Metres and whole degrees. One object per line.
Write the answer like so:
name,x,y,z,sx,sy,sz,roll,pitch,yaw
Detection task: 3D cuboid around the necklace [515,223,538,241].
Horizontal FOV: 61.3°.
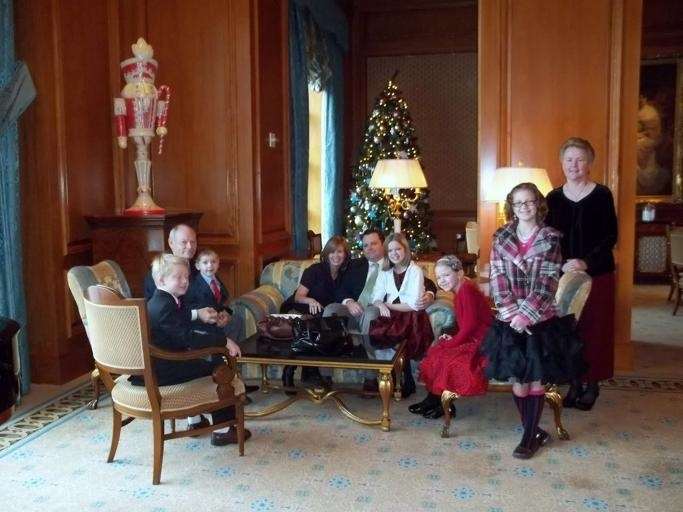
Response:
necklace,1.105,-0.130,3.436,0.081,0.131,0.043,4,2,18

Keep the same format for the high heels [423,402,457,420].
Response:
high heels,0.683,1.092,3.991,0.219,0.101,0.130,1,2,3

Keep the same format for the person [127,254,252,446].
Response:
person,-0.906,0.594,3.546,0.600,1.153,0.369,-3,1,-29

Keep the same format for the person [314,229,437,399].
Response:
person,0.184,0.389,4.485,0.872,1.211,0.747,3,-2,-37

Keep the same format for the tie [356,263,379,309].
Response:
tie,0.215,0.238,4.555,0.097,0.065,0.449,13,42,10

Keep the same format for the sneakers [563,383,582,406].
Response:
sneakers,1.718,1.021,4.276,0.081,0.114,0.261,-4,8,34

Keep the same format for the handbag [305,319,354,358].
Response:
handbag,-0.080,0.541,3.879,0.252,0.275,0.197,11,2,23

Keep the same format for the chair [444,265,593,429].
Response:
chair,1.302,0.645,4.124,1.089,1.317,0.935,2,-6,26

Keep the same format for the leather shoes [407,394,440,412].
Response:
leather shoes,0.590,1.042,4.079,0.263,0.131,0.095,-4,7,8

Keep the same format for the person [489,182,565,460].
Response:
person,1.133,0.399,3.495,0.443,1.652,0.507,-4,6,-17

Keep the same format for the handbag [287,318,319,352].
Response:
handbag,-0.259,0.530,3.972,0.213,0.114,0.319,-3,29,-4

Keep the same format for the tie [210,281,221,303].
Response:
tie,-0.911,0.269,4.230,0.036,0.138,0.093,-7,14,9

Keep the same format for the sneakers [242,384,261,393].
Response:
sneakers,-0.689,1.013,4.410,0.133,0.064,0.047,-3,7,-27

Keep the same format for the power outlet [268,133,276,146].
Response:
power outlet,-0.706,-1.177,5.903,0.026,0.118,0.119,2,6,15

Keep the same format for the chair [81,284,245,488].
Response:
chair,-1.052,0.723,3.564,0.850,1.169,0.941,1,5,5

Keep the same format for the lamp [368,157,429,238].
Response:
lamp,0.579,-0.539,5.795,0.546,0.875,0.582,1,14,11

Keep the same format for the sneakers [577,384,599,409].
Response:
sneakers,1.799,1.043,4.203,0.087,0.137,0.294,-4,-5,33

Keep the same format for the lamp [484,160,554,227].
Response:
lamp,1.394,-0.415,4.871,0.567,0.653,0.609,-1,0,-2
